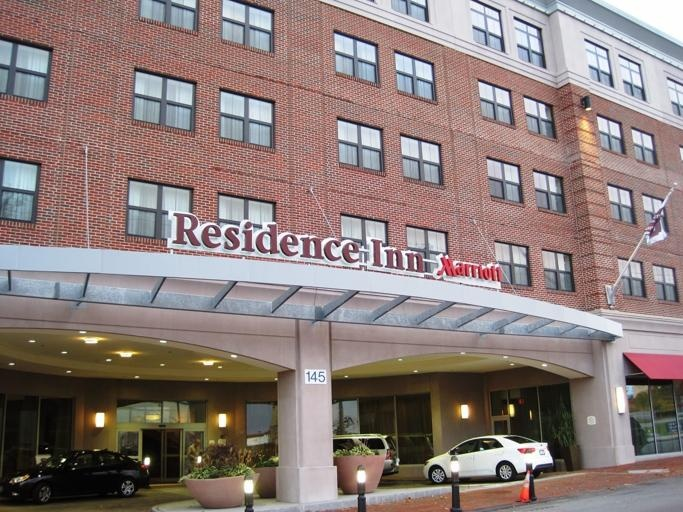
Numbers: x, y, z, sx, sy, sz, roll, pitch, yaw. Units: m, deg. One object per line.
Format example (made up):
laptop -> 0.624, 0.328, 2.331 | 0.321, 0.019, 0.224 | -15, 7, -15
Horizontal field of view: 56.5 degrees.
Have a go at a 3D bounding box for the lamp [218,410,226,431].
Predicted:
lamp -> -5.843, 8.080, 31.130 | 0.435, 0.817, 0.521 | -4, -19, 4

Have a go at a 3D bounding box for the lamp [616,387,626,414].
lamp -> 12.612, 6.491, 28.640 | 0.344, 1.190, 0.529 | -21, -26, 41

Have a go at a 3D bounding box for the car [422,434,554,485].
car -> 5.565, 7.709, 24.171 | 4.360, 1.715, 1.022 | -13, -21, 32
